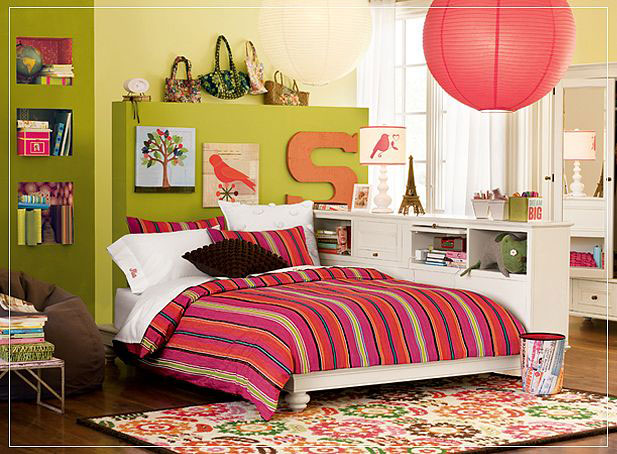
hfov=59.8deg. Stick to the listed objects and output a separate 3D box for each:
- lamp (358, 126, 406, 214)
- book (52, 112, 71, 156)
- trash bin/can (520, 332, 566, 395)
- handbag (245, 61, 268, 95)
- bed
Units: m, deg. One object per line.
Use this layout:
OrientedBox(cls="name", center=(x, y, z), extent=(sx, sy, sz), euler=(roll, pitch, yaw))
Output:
OrientedBox(cls="lamp", center=(0.709, -0.503, 5.111), extent=(0.404, 0.763, 0.905), euler=(0, -2, 8))
OrientedBox(cls="book", center=(-2.244, -0.850, 4.872), extent=(0.092, 0.317, 0.336), euler=(2, -10, -10))
OrientedBox(cls="trash bin/can", center=(1.468, 0.875, 3.495), extent=(0.376, 0.350, 0.355), euler=(0, 0, 3))
OrientedBox(cls="handbag", center=(-0.594, -1.544, 5.633), extent=(0.134, 0.294, 0.266), euler=(-15, -9, 42))
OrientedBox(cls="bed", center=(0.030, 0.698, 3.972), extent=(2.820, 0.580, 2.695), euler=(-4, -3, 16))
